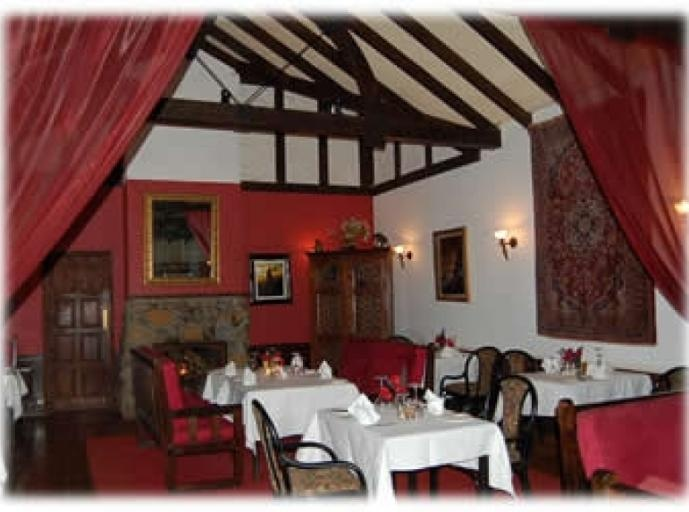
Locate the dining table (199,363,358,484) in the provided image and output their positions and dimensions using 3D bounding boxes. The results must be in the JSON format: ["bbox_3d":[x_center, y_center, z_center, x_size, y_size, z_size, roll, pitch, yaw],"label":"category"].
[{"bbox_3d":[-0.674,2.095,6.303,0.971,0.639,1.821,1,-2,-24],"label":"dining table"}]

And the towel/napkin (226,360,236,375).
[{"bbox_3d":[-1.402,1.401,6.977,0.140,0.207,0.198,1,-8,-5],"label":"towel/napkin"}]

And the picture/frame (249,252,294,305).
[{"bbox_3d":[-1.415,0.442,10.669,0.939,1.058,0.076,0,-1,-22],"label":"picture/frame"}]

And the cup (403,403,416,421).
[{"bbox_3d":[0.570,1.336,4.833,0.095,0.119,0.099,-1,-3,0],"label":"cup"}]

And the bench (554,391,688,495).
[{"bbox_3d":[2.163,1.426,4.254,1.165,0.693,0.268,1,-6,-15],"label":"bench"}]

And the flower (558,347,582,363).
[{"bbox_3d":[2.678,1.162,6.632,0.186,0.158,0.199,3,-4,-35],"label":"flower"}]

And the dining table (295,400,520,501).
[{"bbox_3d":[0.625,1.536,4.647,0.886,0.373,1.006,6,-9,-25],"label":"dining table"}]

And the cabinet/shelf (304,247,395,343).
[{"bbox_3d":[0.133,0.735,10.296,1.539,1.928,0.698,-2,-5,19],"label":"cabinet/shelf"}]

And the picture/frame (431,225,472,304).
[{"bbox_3d":[1.794,0.138,9.201,0.145,1.460,1.179,0,-4,-20],"label":"picture/frame"}]

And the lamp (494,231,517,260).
[{"bbox_3d":[2.318,-0.161,8.128,0.218,0.416,0.434,2,-6,-19],"label":"lamp"}]

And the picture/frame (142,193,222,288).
[{"bbox_3d":[-2.567,-0.273,8.869,1.144,1.491,0.070,0,-13,-18],"label":"picture/frame"}]

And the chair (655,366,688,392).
[{"bbox_3d":[3.317,1.251,5.643,0.419,0.174,0.340,2,-6,-29],"label":"chair"}]

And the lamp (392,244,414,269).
[{"bbox_3d":[1.139,0.013,10.536,0.378,0.605,0.351,4,-7,-28],"label":"lamp"}]

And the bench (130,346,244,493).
[{"bbox_3d":[-1.620,1.404,6.621,0.855,1.432,2.284,-2,20,-14],"label":"bench"}]
